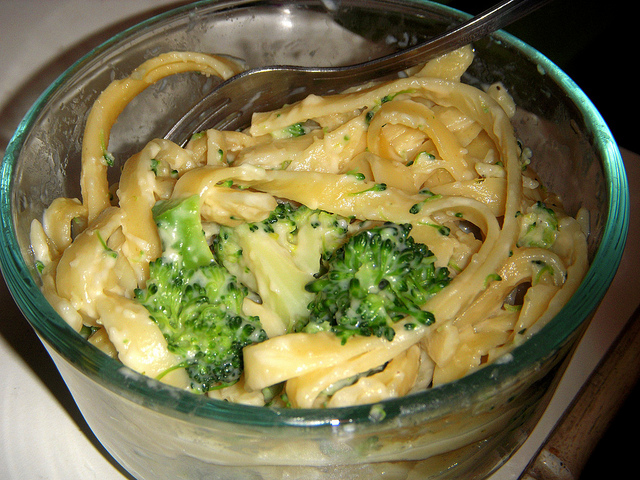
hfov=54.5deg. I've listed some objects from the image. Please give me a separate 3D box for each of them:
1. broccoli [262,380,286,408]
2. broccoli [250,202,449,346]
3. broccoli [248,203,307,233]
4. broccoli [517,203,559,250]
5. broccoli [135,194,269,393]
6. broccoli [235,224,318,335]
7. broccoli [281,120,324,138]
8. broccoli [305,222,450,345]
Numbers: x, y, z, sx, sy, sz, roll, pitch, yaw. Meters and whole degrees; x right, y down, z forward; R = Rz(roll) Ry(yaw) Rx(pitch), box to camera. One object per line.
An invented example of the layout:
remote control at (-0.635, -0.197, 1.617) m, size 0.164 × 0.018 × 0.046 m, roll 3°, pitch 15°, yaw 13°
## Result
broccoli at (-0.071, 0.225, 0.929) m, size 0.023 × 0.077 × 0.021 m, roll 15°, pitch 45°, yaw 4°
broccoli at (0.047, 0.049, 0.937) m, size 0.253 × 0.079 × 0.202 m, roll 35°, pitch 69°, yaw 8°
broccoli at (-0.071, -0.037, 1.043) m, size 0.057 × 0.019 × 0.060 m, roll -20°, pitch 28°, yaw 9°
broccoli at (0.349, -0.021, 0.980) m, size 0.059 × 0.021 × 0.067 m, roll 6°, pitch 88°, yaw 6°
broccoli at (-0.185, 0.085, 0.935) m, size 0.184 × 0.069 × 0.305 m, roll -8°, pitch 88°, yaw -28°
broccoli at (-0.078, 0.041, 1.063) m, size 0.189 × 0.122 × 0.050 m, roll 28°, pitch 91°, yaw 14°
broccoli at (-0.033, -0.200, 1.129) m, size 0.044 × 0.044 × 0.014 m, roll -14°, pitch 85°, yaw -42°
broccoli at (0.107, 0.054, 0.933) m, size 0.174 × 0.050 × 0.158 m, roll -24°, pitch 76°, yaw 24°
